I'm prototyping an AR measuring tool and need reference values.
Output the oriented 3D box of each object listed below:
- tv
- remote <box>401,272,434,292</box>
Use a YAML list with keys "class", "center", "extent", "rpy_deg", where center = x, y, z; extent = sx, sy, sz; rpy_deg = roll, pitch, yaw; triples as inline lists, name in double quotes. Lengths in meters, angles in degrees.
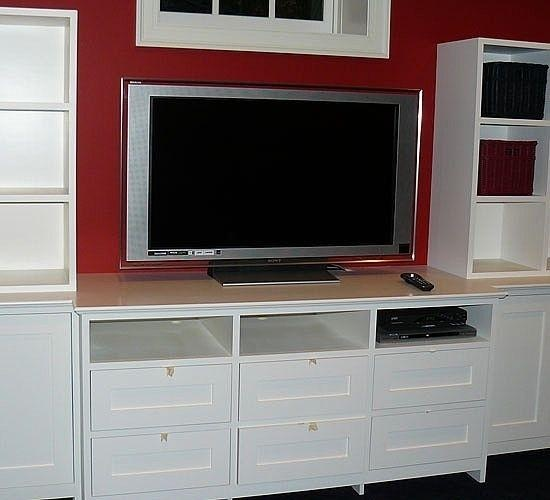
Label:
- class: "tv"
  center: [-0.054, -0.289, 2.321]
  extent: [0.985, 0.538, 0.033]
  rpy_deg: [-1, 10, -11]
- class: "remote"
  center: [0.594, 0.125, 2.316]
  extent: [0.062, 0.023, 0.112]
  rpy_deg: [-5, 19, -18]
